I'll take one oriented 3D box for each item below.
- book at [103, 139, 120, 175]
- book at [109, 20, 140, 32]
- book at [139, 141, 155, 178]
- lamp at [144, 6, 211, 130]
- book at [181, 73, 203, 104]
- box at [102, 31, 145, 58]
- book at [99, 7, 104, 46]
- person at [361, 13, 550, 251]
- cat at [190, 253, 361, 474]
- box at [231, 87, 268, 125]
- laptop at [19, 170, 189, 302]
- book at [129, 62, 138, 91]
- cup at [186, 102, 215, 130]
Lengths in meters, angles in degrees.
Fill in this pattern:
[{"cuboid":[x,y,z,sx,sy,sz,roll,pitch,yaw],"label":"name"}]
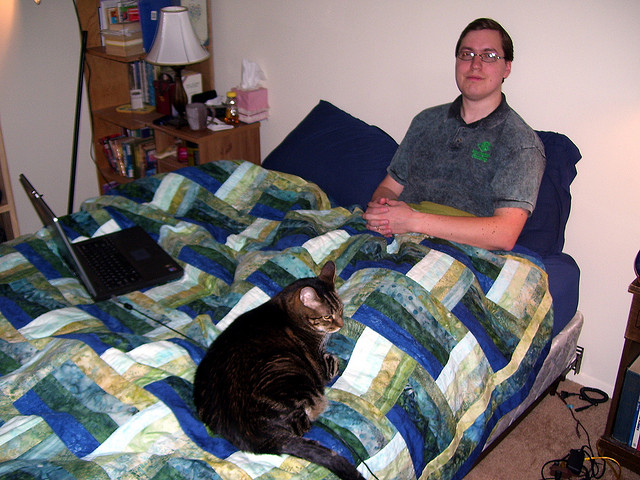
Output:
[{"cuboid":[-1.523,-0.613,3.736,0.063,0.265,0.037,-4,27,33],"label":"book"},{"cuboid":[-1.282,-1.412,3.319,0.187,0.084,0.093,-1,25,-20],"label":"book"},{"cuboid":[-1.240,-0.585,3.610,0.076,0.244,0.128,10,24,4],"label":"book"},{"cuboid":[-0.867,-1.151,3.279,0.485,0.758,0.467,17,28,31],"label":"lamp"},{"cuboid":[-0.903,-1.045,3.466,0.097,0.182,0.186,19,32,26],"label":"book"},{"cuboid":[-1.298,-1.323,3.326,0.194,0.074,0.211,-24,37,-36],"label":"box"},{"cuboid":[-1.464,-1.435,3.392,0.021,0.242,0.122,-3,26,-22],"label":"book"},{"cuboid":[0.616,-0.461,2.319,0.808,1.028,0.698,8,27,13],"label":"person"},{"cuboid":[-0.090,0.372,1.554,0.530,0.407,0.500,11,23,9],"label":"cat"},{"cuboid":[-0.482,-0.907,3.331,0.234,0.191,0.231,-22,37,-38],"label":"box"},{"cuboid":[-0.862,-0.043,2.067,0.480,0.317,0.555,-15,32,-41],"label":"laptop"},{"cuboid":[-1.318,-1.168,3.578,0.071,0.186,0.028,16,25,17],"label":"book"},{"cuboid":[-0.698,-0.791,3.157,0.213,0.147,0.135,7,33,8],"label":"cup"}]
